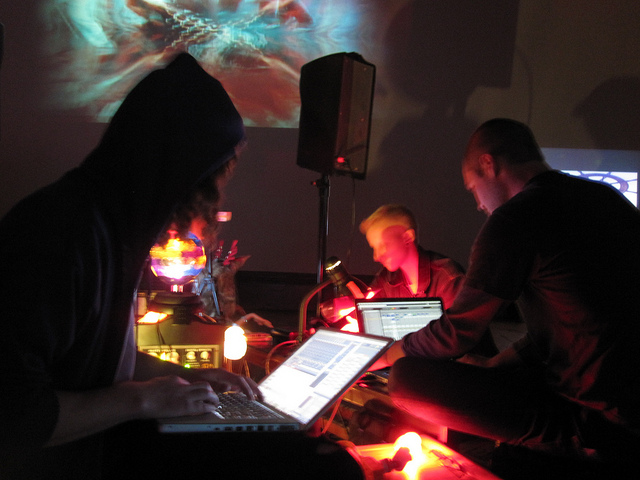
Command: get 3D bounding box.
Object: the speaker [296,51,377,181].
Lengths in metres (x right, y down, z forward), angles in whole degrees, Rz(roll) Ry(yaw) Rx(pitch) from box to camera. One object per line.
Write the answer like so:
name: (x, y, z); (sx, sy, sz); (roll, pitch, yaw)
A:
speaker: (0.097, -0.801, 3.568); (0.487, 0.595, 0.348); (5, 3, -1)

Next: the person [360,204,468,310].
person: (0.688, 0.110, 4.002); (0.408, 0.475, 0.731); (-23, 3, -13)

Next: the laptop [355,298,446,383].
laptop: (0.461, 0.452, 2.759); (0.525, 0.330, 0.455); (0, -6, -19)

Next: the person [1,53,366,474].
person: (-0.473, 0.079, 2.508); (1.464, 1.680, 1.165); (-1, 3, -22)
